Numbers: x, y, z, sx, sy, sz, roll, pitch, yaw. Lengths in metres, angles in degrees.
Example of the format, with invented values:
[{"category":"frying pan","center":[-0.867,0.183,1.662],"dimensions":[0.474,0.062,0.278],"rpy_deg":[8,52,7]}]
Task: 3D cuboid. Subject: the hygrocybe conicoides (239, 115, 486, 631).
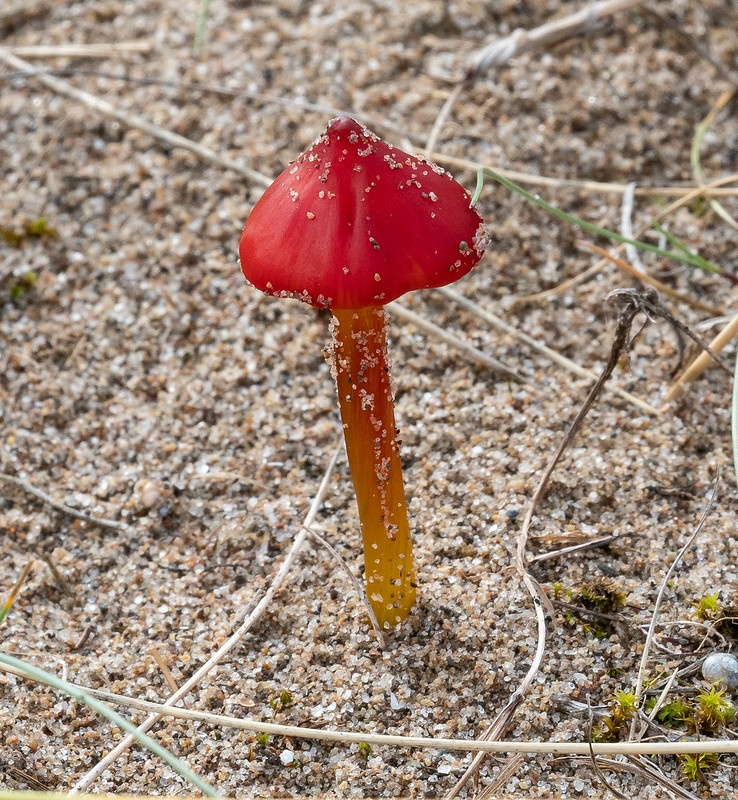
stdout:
[{"category":"hygrocybe conicoides","center":[-0.026,-0.027,2.399],"dimensions":[0.455,1.050,0.510],"rpy_deg":[10,48,13]}]
